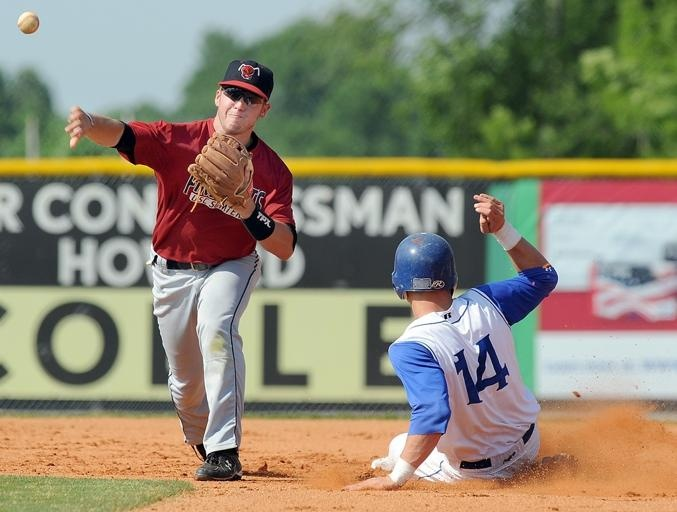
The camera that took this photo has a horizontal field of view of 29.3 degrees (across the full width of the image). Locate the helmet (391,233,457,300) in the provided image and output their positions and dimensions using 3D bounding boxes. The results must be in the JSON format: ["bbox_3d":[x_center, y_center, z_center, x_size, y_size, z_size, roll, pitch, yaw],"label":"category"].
[{"bbox_3d":[0.575,0.035,8.672,0.378,0.376,0.413,-2,16,-3],"label":"helmet"}]

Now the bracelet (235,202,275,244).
[{"bbox_3d":[-0.561,-0.239,8.862,0.180,0.127,0.242,7,28,-33],"label":"bracelet"}]

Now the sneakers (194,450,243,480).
[{"bbox_3d":[-0.805,1.432,8.926,0.345,0.175,0.148,3,-7,-29],"label":"sneakers"}]

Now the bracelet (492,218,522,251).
[{"bbox_3d":[1.212,-0.171,9.303,0.244,0.172,0.163,44,4,-6],"label":"bracelet"}]

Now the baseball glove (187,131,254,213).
[{"bbox_3d":[-0.804,-0.600,8.832,0.425,0.503,0.174,0,2,-4],"label":"baseball glove"}]

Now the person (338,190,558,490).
[{"bbox_3d":[0.835,0.556,8.677,1.101,1.947,0.496,-1,2,-32],"label":"person"}]

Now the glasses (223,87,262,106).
[{"bbox_3d":[-0.668,-1.126,9.027,0.266,0.119,0.056,0,2,-4],"label":"glasses"}]

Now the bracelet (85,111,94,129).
[{"bbox_3d":[-1.700,-0.947,8.875,0.075,0.095,0.034,-15,9,34],"label":"bracelet"}]
